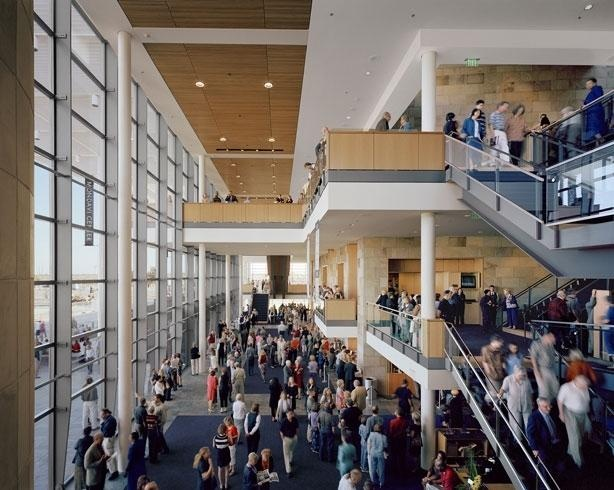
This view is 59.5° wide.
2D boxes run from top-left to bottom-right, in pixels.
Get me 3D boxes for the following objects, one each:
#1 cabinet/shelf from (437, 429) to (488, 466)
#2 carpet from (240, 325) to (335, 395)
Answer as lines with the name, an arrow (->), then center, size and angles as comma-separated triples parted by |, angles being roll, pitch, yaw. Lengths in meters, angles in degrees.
cabinet/shelf -> 4.311, 5.611, 14.393 | 1.007, 1.150, 0.784 | 7, -8, 21
carpet -> -1.130, 5.044, 24.462 | 2.645, 0.892, 2.657 | -5, 17, 6
